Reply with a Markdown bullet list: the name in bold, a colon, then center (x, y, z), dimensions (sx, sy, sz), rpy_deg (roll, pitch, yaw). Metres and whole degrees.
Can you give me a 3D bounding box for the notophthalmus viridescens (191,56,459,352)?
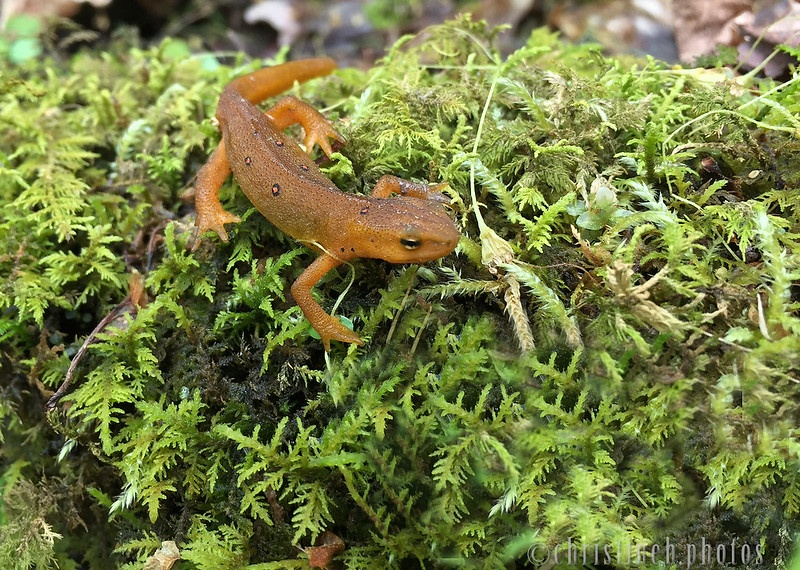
- **notophthalmus viridescens**: center (-0.555, -0.525, 4.453), dimensions (1.218, 0.563, 1.831), rpy_deg (-34, 61, -17)
